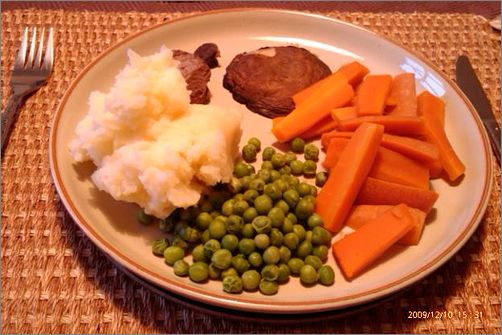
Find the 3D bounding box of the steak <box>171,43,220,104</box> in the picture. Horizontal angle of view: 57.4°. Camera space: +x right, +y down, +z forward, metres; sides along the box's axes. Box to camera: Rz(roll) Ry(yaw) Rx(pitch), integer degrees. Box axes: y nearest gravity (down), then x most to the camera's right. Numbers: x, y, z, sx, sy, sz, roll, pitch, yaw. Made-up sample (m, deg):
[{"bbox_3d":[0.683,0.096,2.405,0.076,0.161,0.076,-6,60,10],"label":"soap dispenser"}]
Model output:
[{"bbox_3d":[-0.522,-0.998,4.675,0.437,0.649,0.497,15,33,30],"label":"steak"}]
